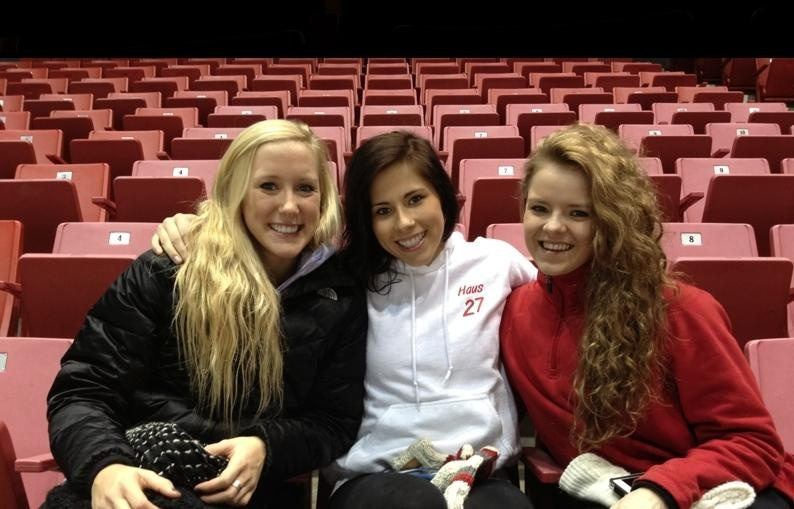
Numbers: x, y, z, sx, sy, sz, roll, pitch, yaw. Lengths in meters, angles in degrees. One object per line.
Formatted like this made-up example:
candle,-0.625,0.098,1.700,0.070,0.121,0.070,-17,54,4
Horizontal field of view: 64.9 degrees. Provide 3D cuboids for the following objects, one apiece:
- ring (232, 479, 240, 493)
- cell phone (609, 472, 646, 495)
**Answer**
ring,-0.546,0.784,2.119,0.017,0.032,0.032,6,5,24
cell phone,0.758,0.770,2.098,0.080,0.017,0.073,-6,20,-13
